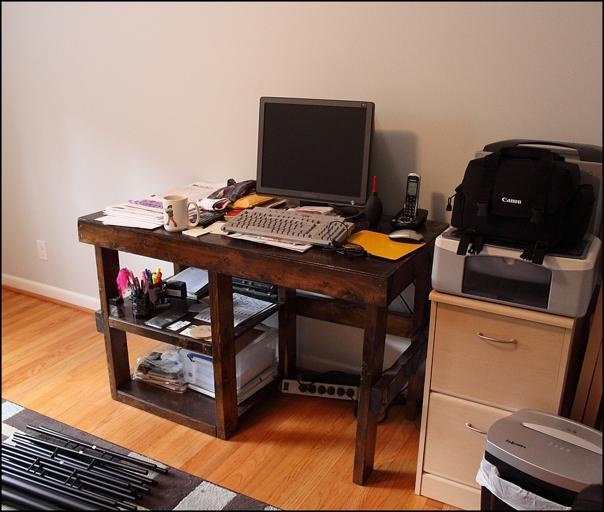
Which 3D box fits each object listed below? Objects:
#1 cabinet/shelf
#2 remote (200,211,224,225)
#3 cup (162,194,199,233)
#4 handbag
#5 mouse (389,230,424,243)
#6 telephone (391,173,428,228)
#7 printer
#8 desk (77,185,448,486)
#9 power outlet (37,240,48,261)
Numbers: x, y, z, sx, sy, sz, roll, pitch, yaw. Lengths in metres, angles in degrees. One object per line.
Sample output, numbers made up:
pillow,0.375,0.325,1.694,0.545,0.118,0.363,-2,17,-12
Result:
cabinet/shelf,0.694,0.468,1.886,0.465,0.759,0.448,8,22,20
remote,-0.380,-0.163,2.072,0.067,0.014,0.068,-21,28,-8
cup,-0.470,-0.162,1.975,0.137,0.125,0.087,-1,6,-1
handbag,0.653,-0.183,1.574,0.466,0.395,0.345,14,27,37
mouse,0.392,-0.081,1.847,0.094,0.029,0.056,1,18,25
telephone,0.442,-0.227,2.001,0.112,0.206,0.218,9,20,23
printer,0.745,-0.049,1.714,0.487,0.262,0.443,12,22,29
desk,-0.192,0.296,2.292,1.407,0.860,0.817,8,16,20
power outlet,-1.684,-0.045,3.245,0.105,0.147,0.016,13,26,26
